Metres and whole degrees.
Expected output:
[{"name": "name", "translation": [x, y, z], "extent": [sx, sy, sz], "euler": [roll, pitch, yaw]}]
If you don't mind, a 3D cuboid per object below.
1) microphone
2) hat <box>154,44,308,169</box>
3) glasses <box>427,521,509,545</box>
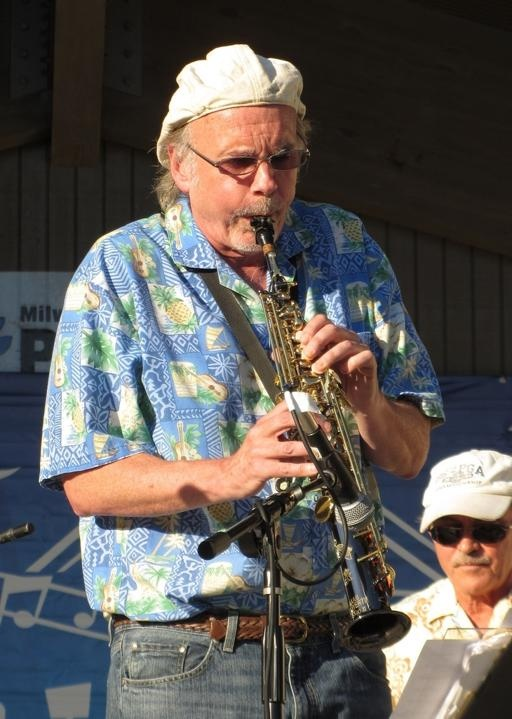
[{"name": "microphone", "translation": [0.144, 0.199, 1.892], "extent": [0.110, 0.277, 0.221], "euler": [-5, -8, 42]}, {"name": "hat", "translation": [-0.032, -0.662, 2.325], "extent": [0.322, 0.128, 0.406], "euler": [-1, 10, 2]}, {"name": "glasses", "translation": [0.643, 0.527, 2.922], "extent": [0.132, 0.031, 0.112], "euler": [-5, -34, 18]}]
